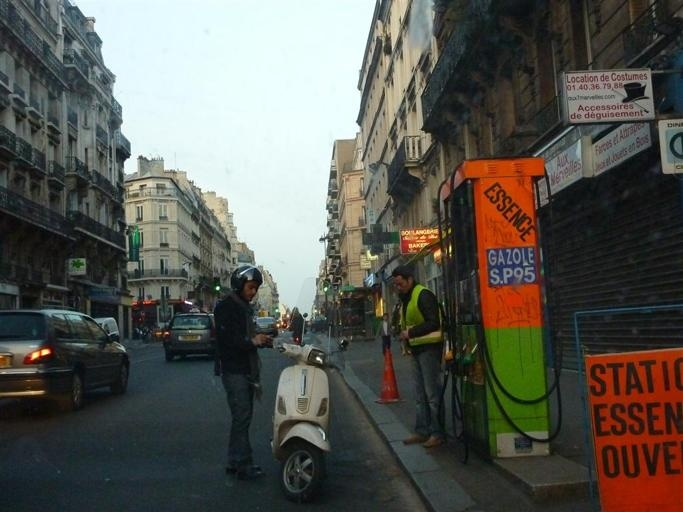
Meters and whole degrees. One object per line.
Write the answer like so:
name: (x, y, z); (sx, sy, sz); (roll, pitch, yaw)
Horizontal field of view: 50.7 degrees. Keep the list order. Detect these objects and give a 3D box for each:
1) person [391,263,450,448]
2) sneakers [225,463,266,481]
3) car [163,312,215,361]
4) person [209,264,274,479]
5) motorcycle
person: (1.038, 1.274, 9.435); (0.613, 2.370, 0.637); (-4, -8, 6)
sneakers: (-1.150, 2.537, 8.493); (0.324, 0.143, 0.206); (-1, -4, 4)
car: (-5.033, 2.659, 24.574); (1.322, 1.435, 2.649); (-1, 2, 3)
person: (-1.197, 1.343, 8.671); (0.633, 2.548, 0.916); (-1, -8, -11)
motorcycle: (-0.452, 1.816, 8.100); (0.703, 1.739, 0.639); (-4, -8, 8)
